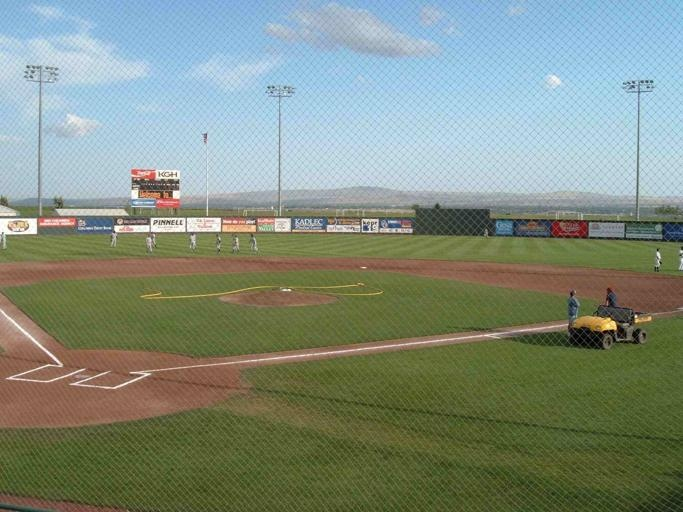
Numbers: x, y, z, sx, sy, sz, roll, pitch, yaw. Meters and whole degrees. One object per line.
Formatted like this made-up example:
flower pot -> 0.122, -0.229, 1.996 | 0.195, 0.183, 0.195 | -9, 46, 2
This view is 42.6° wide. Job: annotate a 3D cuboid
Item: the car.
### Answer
car -> 7.835, 1.956, 25.537 | 2.449, 1.057, 1.229 | -3, 7, -33
